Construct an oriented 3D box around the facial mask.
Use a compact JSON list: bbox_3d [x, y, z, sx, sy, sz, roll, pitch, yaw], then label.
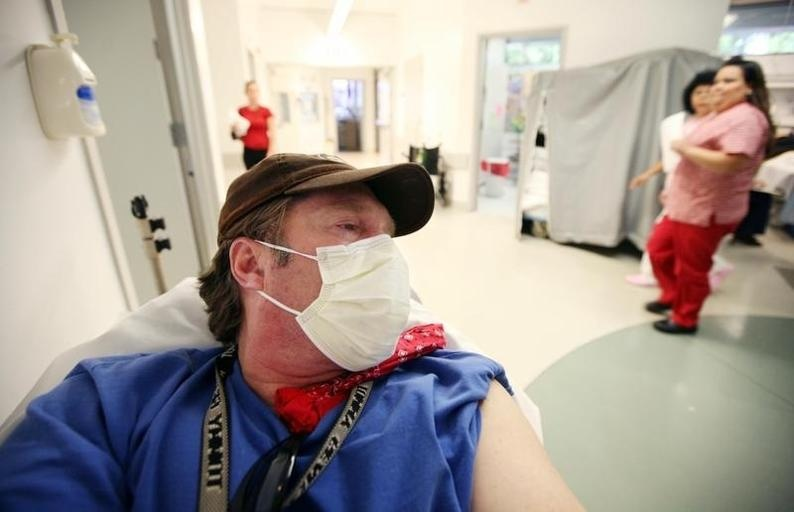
[{"bbox_3d":[-0.254,0.198,2.323,0.596,0.490,0.538,5,-3,25],"label":"facial mask"}]
